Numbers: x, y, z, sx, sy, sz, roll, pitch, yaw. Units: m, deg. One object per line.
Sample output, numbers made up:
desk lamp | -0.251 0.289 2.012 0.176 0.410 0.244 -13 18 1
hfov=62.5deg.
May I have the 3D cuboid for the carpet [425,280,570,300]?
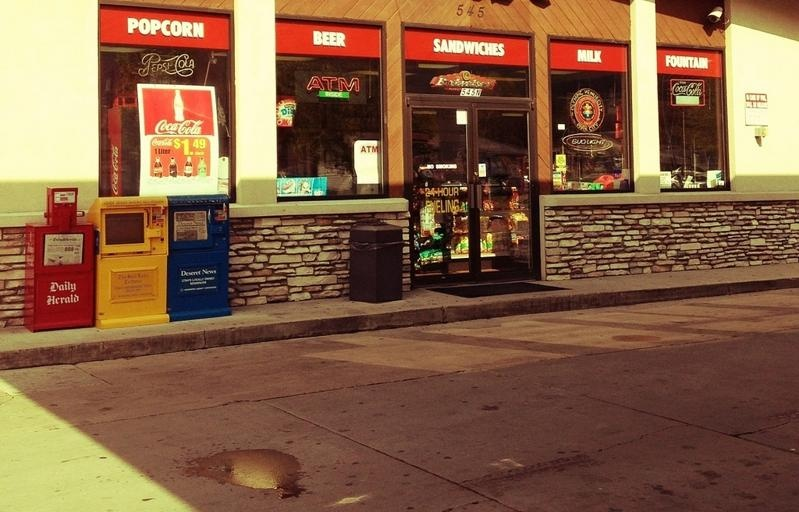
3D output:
carpet | 1.752 0.613 12.028 2.253 0.074 1.362 -4 9 -23
